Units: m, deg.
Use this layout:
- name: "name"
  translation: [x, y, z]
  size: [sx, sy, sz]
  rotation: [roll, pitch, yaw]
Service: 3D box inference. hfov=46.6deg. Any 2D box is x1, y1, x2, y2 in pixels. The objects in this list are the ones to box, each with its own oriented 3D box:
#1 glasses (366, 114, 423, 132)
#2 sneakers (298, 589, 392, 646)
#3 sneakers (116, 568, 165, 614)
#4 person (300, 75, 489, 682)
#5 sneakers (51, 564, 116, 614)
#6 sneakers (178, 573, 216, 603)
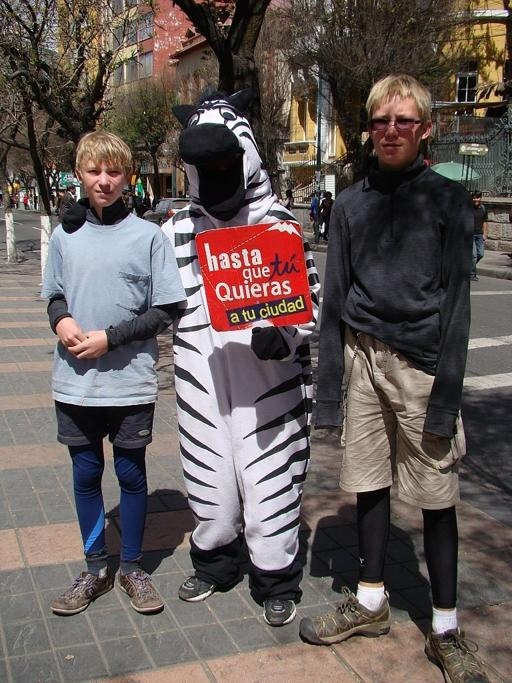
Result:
- name: "glasses"
  translation: [0.419, -0.662, 1.817]
  size: [0.155, 0.051, 0.069]
  rotation: [4, 6, 16]
- name: "sneakers"
  translation: [0.358, 0.990, 2.147]
  size: [0.388, 0.166, 0.132]
  rotation: [1, -13, -11]
- name: "sneakers"
  translation: [-0.441, 0.952, 2.270]
  size: [0.087, 0.080, 0.218]
  rotation: [-5, 5, -34]
- name: "person"
  translation: [0.477, 0.122, 1.906]
  size: [0.627, 1.909, 0.295]
  rotation: [5, 6, 22]
- name: "sneakers"
  translation: [-0.665, 0.951, 2.284]
  size: [0.079, 0.077, 0.212]
  rotation: [7, 10, 29]
- name: "sneakers"
  translation: [-0.234, 0.988, 2.349]
  size: [0.064, 0.064, 0.159]
  rotation: [-3, -16, 36]
